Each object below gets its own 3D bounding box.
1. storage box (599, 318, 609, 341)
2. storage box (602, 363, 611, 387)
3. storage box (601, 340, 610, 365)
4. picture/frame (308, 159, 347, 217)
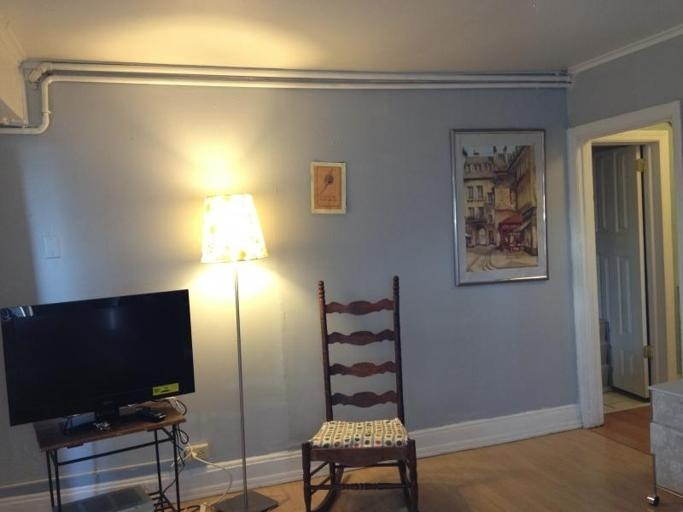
[{"bbox_3d":[2.543,0.701,5.571,0.087,0.206,0.062,3,13,25],"label":"storage box"},{"bbox_3d":[2.549,1.147,5.559,0.092,0.216,0.062,-2,12,2],"label":"storage box"},{"bbox_3d":[2.546,0.924,5.570,0.072,0.216,0.058,1,12,14],"label":"storage box"},{"bbox_3d":[-0.132,-0.522,4.313,0.370,0.561,0.054,-1,4,-11],"label":"picture/frame"}]
